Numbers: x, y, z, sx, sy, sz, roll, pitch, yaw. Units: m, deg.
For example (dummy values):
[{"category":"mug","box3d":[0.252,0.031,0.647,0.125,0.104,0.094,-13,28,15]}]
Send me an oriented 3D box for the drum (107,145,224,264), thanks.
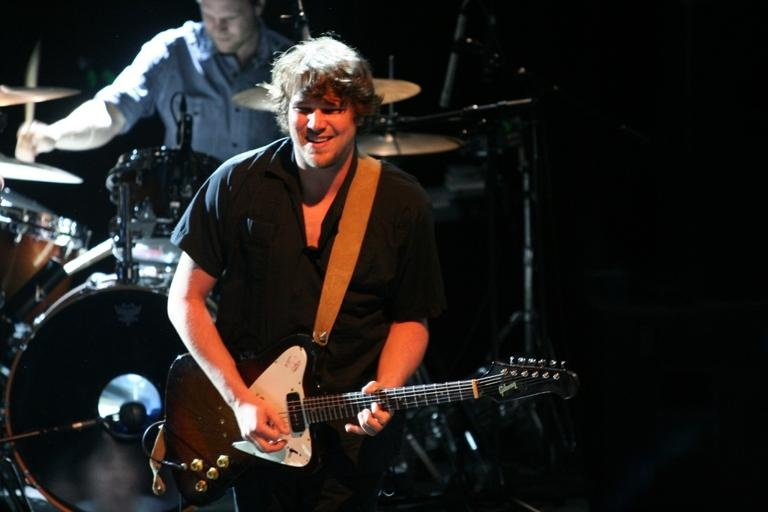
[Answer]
[{"category":"drum","box3d":[-1.445,-0.355,5.619,0.700,0.744,0.578,8,0,-12]}]
